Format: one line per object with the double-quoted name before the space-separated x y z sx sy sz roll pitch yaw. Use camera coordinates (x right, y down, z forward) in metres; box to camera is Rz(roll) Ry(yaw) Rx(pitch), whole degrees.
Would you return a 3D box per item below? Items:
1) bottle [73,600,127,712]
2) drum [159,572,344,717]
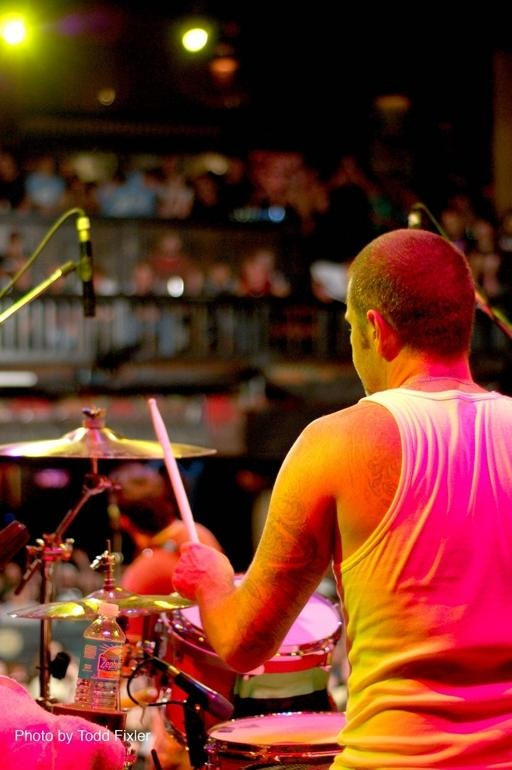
"bottle" -0.372 0.632 2.844 0.121 0.262 0.298 -3 -5 -7
"drum" -0.009 0.648 3.091 0.431 0.274 0.359 0 2 3
